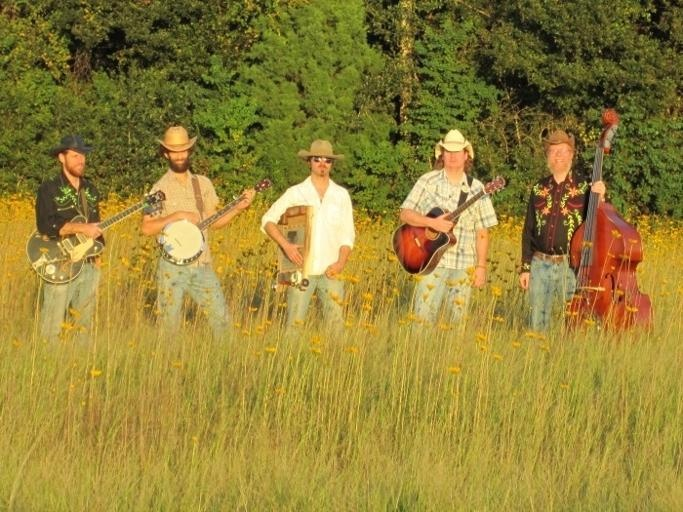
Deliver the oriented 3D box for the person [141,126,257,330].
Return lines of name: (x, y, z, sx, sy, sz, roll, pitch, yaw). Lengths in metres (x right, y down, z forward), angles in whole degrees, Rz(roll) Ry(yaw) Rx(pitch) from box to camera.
person: (-2.260, -0.372, 16.877, 0.943, 4.051, 1.193, 0, 1, -12)

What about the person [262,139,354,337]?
person: (-0.403, 0.168, 16.794, 1.171, 3.733, 0.975, 0, -2, -12)

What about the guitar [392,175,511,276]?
guitar: (1.642, -0.469, 17.335, 0.302, 2.112, 0.997, 3, 45, -55)

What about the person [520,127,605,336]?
person: (3.334, -0.358, 17.486, 0.929, 3.581, 1.040, 1, 1, 33)

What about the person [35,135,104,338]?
person: (-4.013, -0.386, 16.927, 0.836, 3.350, 0.861, -1, 11, -21)
